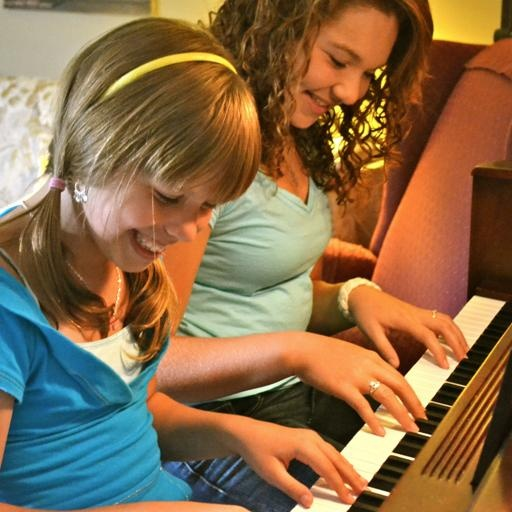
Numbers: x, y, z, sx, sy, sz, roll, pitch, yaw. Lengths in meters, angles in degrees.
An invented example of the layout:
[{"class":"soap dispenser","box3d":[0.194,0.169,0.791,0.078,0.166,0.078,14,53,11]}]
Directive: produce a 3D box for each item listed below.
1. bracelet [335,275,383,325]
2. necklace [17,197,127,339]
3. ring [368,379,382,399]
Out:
[{"class":"bracelet","box3d":[0.259,0.113,1.306,0.110,0.108,0.037,13,-7,-9]},{"class":"necklace","box3d":[-0.318,0.024,0.770,0.089,0.195,0.171,-33,-23,27]},{"class":"ring","box3d":[0.203,0.224,0.873,0.011,0.024,0.019,30,-4,-23]}]
